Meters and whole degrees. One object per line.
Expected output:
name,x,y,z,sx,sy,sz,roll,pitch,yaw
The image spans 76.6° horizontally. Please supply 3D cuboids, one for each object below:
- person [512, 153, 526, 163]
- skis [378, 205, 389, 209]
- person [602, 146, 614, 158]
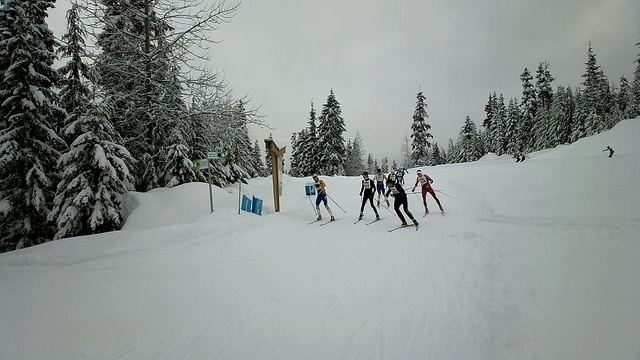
person,21.808,-2.469,44.136,1.130,0.985,2.629,-1,2,27
skis,4.771,2.013,30.242,0.073,0.163,0.995,6,-2,-21
person,25.094,-2.446,35.216,0.714,1.022,1.919,0,2,35
